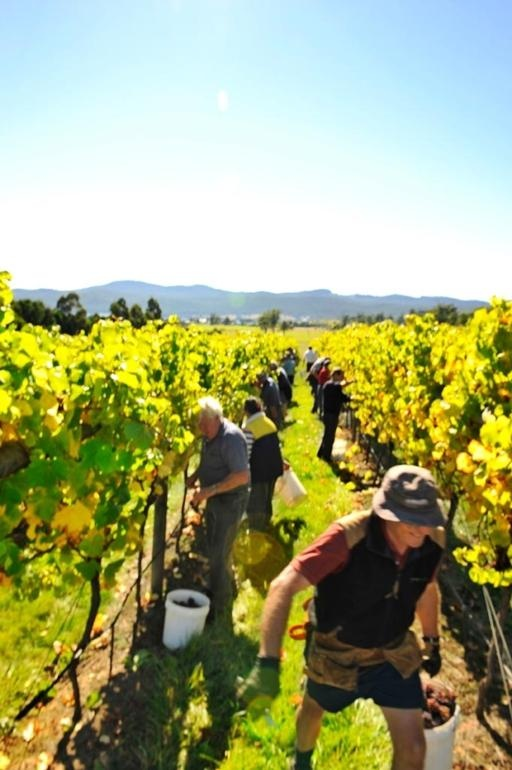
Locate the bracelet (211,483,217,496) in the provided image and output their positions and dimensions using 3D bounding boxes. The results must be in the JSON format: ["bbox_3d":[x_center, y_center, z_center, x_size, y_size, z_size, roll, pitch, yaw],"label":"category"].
[{"bbox_3d":[-0.345,0.914,3.867,0.035,0.092,0.062,25,-20,-32],"label":"bracelet"}]

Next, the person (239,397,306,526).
[{"bbox_3d":[0.263,1.130,6.391,0.485,1.612,0.587,-20,51,-6],"label":"person"}]

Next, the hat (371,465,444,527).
[{"bbox_3d":[0.644,0.469,1.867,0.234,0.170,0.284,2,13,-7],"label":"hat"}]

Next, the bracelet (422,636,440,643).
[{"bbox_3d":[0.941,1.359,2.363,0.060,0.016,0.061,3,-1,-8],"label":"bracelet"}]

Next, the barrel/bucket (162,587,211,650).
[{"bbox_3d":[-0.579,1.922,3.694,0.393,0.466,0.414,6,-3,0],"label":"barrel/bucket"}]
